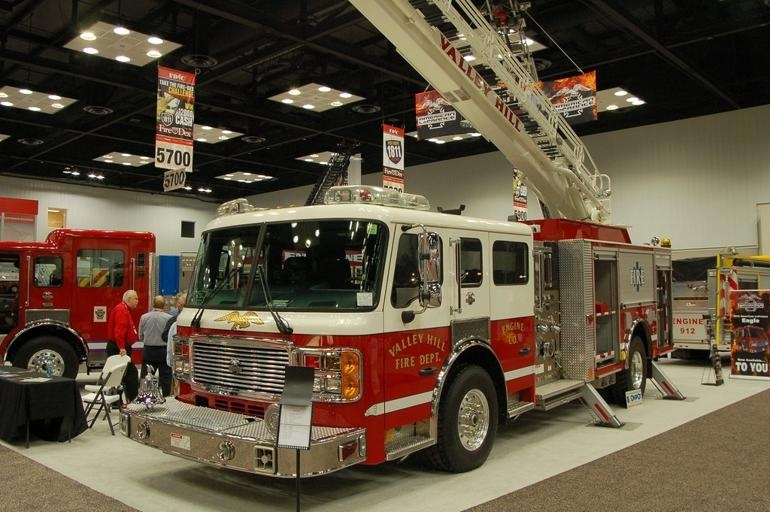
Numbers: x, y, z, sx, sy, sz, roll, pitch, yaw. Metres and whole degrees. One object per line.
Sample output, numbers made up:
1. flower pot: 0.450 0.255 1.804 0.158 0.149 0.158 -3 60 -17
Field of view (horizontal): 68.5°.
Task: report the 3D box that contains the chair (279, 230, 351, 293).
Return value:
1. chair: -0.859 0.095 7.316 0.911 0.822 0.563 -1 -10 11
